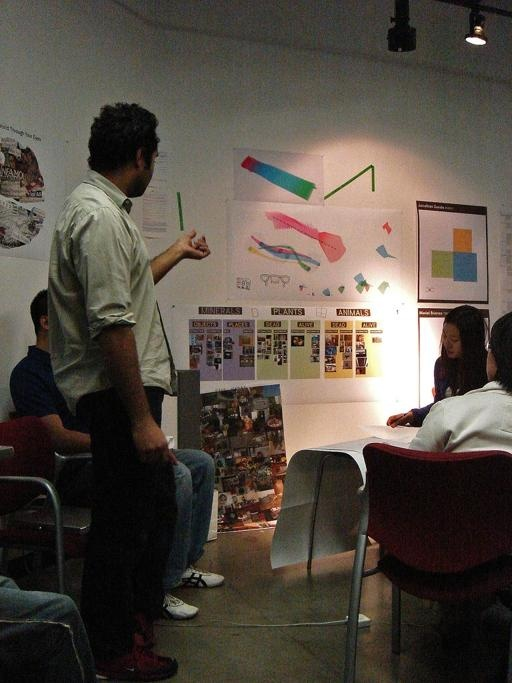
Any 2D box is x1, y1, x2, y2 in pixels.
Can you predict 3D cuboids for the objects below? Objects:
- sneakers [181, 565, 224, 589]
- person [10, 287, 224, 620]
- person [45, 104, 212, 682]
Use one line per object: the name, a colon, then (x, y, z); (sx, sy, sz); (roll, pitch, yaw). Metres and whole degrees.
sneakers: (-0.224, 0.983, 2.440); (0.188, 0.085, 0.072); (1, 2, 1)
person: (-0.666, 0.422, 2.983); (1.051, 2.002, 0.917); (-2, 0, 3)
person: (-0.343, 0.139, 1.476); (0.400, 1.546, 0.341); (4, -6, -23)
